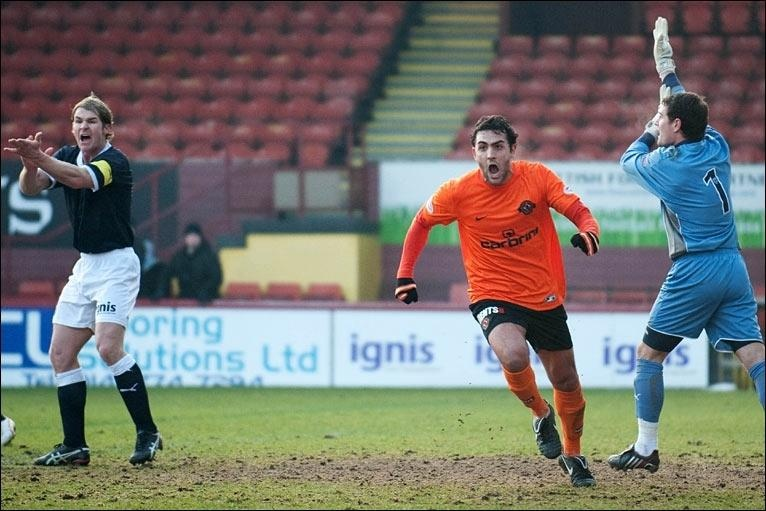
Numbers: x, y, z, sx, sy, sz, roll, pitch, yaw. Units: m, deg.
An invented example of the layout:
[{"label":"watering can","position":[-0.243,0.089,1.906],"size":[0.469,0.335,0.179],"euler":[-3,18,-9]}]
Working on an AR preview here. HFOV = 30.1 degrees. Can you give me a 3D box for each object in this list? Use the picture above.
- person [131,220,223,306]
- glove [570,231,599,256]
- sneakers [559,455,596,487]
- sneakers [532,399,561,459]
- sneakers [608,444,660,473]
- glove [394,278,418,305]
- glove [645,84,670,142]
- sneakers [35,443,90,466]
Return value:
[{"label":"person","position":[-2.576,0.117,18.685],"size":[1.094,1.049,0.337],"euler":[-1,1,12]},{"label":"glove","position":[2.017,-0.110,14.296],"size":[0.261,0.250,0.314],"euler":[1,13,5]},{"label":"sneakers","position":[1.984,2.158,14.489],"size":[0.185,0.178,0.464],"euler":[-12,35,-27]},{"label":"sneakers","position":[1.659,1.810,14.716],"size":[0.248,0.613,0.280],"euler":[-15,7,24]},{"label":"sneakers","position":[2.587,2.112,14.787],"size":[0.561,0.251,0.230],"euler":[4,-3,9]},{"label":"glove","position":[0.254,0.367,14.808],"size":[0.290,0.241,0.207],"euler":[-5,-4,-6]},{"label":"glove","position":[2.833,-1.433,14.750],"size":[0.218,0.696,0.195],"euler":[14,28,14]},{"label":"sneakers","position":[-3.299,2.102,15.012],"size":[0.632,0.229,0.209],"euler":[3,-9,-4]}]
